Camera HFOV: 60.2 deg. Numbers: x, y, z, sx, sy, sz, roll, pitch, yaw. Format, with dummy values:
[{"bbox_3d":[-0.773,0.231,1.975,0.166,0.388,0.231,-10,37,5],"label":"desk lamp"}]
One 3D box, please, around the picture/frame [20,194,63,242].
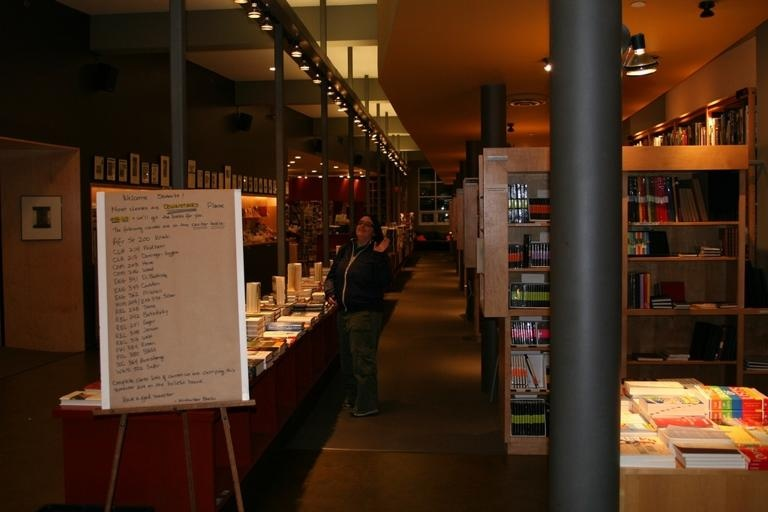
[{"bbox_3d":[-5.124,-0.579,9.925,0.047,0.632,0.563,5,6,39],"label":"picture/frame"}]
